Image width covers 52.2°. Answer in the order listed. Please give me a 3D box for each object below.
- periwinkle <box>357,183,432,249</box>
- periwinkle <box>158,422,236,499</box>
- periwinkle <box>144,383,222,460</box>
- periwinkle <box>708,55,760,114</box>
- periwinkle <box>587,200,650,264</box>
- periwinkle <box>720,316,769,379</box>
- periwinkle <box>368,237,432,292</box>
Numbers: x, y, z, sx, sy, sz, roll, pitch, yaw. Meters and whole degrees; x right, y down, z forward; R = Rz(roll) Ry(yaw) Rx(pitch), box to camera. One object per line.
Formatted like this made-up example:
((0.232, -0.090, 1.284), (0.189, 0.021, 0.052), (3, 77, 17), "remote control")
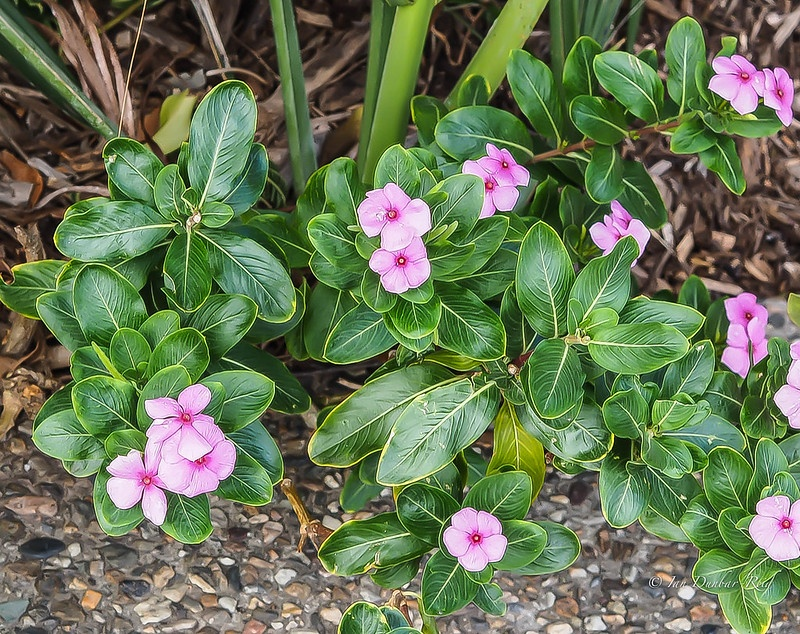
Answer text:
((-0.020, -0.201, 1.475), (0.136, 0.171, 0.047), (-26, 88, -24), "periwinkle")
((-0.350, 0.255, 1.422), (0.109, 0.048, 0.136), (-3, 104, -34), "periwinkle")
((-0.376, 0.188, 1.418), (0.116, 0.039, 0.131), (26, 61, -2), "periwinkle")
((0.664, -0.461, 1.573), (0.087, 0.100, 0.025), (29, 83, -29), "periwinkle")
((0.441, -0.180, 1.723), (0.126, 0.055, 0.136), (-6, 66, -19), "periwinkle")
((0.731, 0.063, 1.731), (0.098, 0.029, 0.126), (-4, 93, -9), "periwinkle")
((0.023, -0.103, 1.464), (0.038, 0.116, 0.118), (-13, 100, -22), "periwinkle")
